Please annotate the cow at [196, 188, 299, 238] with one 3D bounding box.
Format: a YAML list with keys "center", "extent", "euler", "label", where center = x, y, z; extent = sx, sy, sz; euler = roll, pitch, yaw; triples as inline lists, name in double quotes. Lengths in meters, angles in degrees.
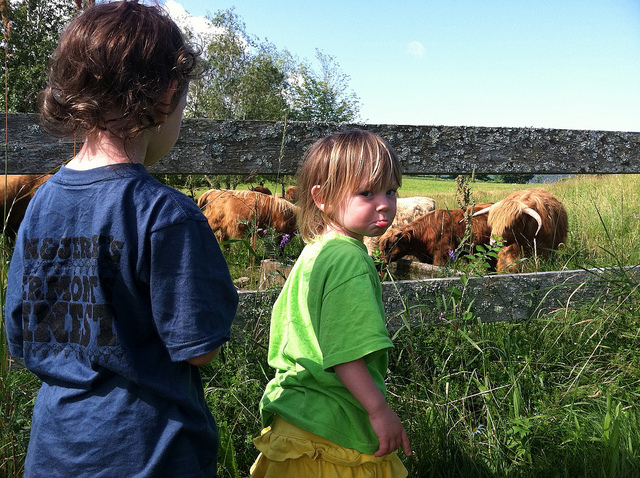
- center: [-0.717, -0.253, 5.378]
  extent: [1.076, 0.670, 0.334]
  euler: [-2, 21, -19]
  label: "cow"

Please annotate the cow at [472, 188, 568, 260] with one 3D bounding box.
- center: [2.040, -0.168, 5.402]
  extent: [1.224, 0.779, 0.673]
  euler: [-2, -3, -45]
  label: "cow"

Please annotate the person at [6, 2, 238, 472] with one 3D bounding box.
- center: [-0.688, 0.005, 1.862]
  extent: [0.798, 1.612, 0.480]
  euler: [-1, 8, -5]
  label: "person"

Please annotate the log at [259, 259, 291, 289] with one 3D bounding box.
- center: [-0.291, 0.221, 3.462]
  extent: [0.176, 0.251, 0.197]
  euler: [0, -2, 1]
  label: "log"

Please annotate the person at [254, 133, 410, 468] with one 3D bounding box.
- center: [0.061, 0.239, 2.192]
  extent: [0.600, 1.321, 0.513]
  euler: [1, 8, 9]
  label: "person"
